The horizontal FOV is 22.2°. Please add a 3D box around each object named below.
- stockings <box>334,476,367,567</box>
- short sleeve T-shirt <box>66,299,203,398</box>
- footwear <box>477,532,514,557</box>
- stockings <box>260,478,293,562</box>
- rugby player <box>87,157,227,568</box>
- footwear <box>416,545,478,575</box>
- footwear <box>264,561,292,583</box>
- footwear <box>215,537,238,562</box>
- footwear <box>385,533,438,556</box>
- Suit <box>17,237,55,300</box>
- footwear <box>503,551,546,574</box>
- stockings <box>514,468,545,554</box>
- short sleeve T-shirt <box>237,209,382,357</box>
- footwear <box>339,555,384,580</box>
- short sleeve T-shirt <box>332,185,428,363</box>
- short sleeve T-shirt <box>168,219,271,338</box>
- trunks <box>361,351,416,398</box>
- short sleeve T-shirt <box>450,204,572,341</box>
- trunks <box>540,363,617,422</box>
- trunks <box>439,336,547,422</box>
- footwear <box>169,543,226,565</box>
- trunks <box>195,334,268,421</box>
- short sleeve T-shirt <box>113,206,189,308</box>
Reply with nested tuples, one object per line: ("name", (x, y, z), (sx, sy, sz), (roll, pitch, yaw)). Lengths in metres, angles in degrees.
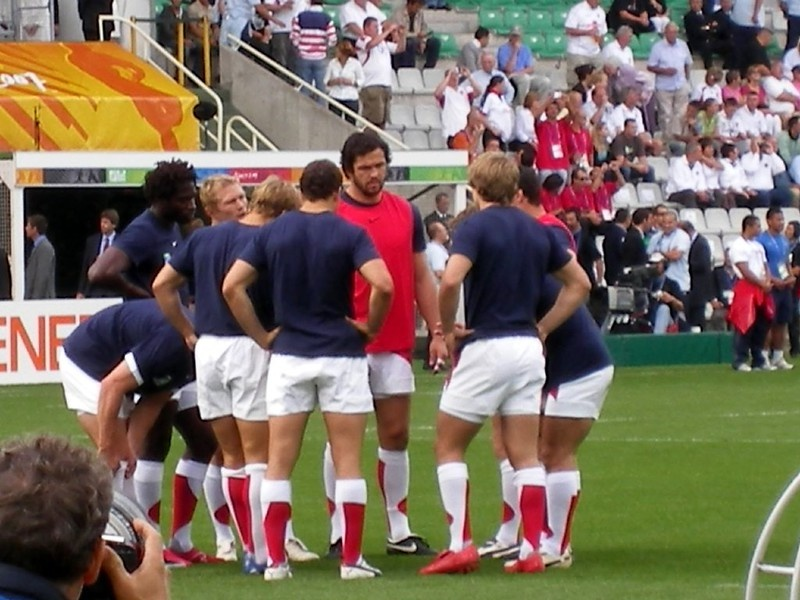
("stockings", (-0.413, 1.794, 16.600), (0.238, 0.688, 0.178), (2, 5, -2))
("short sleeve T-shirt", (-2.266, 0.438, 17.067), (0.966, 0.675, 0.652), (-2, 17, 20))
("footwear", (0.827, 2.092, 17.339), (0.378, 0.175, 0.142), (-3, -9, 6))
("stockings", (-1.024, 1.804, 16.605), (0.233, 0.696, 0.202), (3, 5, 8))
("rugby player", (-2.044, 0.470, 17.235), (1.203, 3.397, 0.996), (2, -10, -12))
("footwear", (0.420, 2.124, 16.647), (0.409, 0.176, 0.217), (-1, -7, 1))
("footwear", (-0.986, 2.195, 16.563), (0.174, 0.138, 0.069), (-3, 16, -19))
("footwear", (-1.469, 2.119, 17.281), (0.175, 0.136, 0.183), (-2, 46, 13))
("footwear", (0.094, 2.084, 17.421), (0.439, 0.189, 0.162), (2, -5, 0))
("Suit", (-4.332, -0.386, 24.611), (0.354, 0.731, 0.647), (2, 5, -12))
("footwear", (1.014, 2.162, 16.792), (0.287, 0.192, 0.156), (1, -15, 11))
("stockings", (1.054, 1.732, 16.723), (0.253, 0.743, 0.152), (2, 5, -2))
("short sleeve T-shirt", (-0.747, -0.120, 16.758), (1.373, 1.238, 0.500), (0, -1, 14))
("footwear", (-0.337, 2.194, 16.634), (0.392, 0.187, 0.135), (0, -2, -20))
("short sleeve T-shirt", (-0.171, -0.235, 17.353), (0.896, 1.423, 0.488), (-8, 5, -22))
("short sleeve T-shirt", (-1.414, -0.136, 16.974), (1.060, 0.969, 0.438), (3, 4, 6))
("trunks", (-0.125, 0.622, 17.057), (0.319, 0.308, 0.181), (-6, -18, -18))
("short sleeve T-shirt", (0.876, -0.184, 16.872), (1.215, 1.147, 0.510), (5, -9, -25))
("trunks", (1.454, 0.763, 16.921), (0.483, 0.363, 0.392), (1, -3, 11))
("trunks", (0.808, 0.558, 16.900), (0.855, 0.787, 0.585), (-2, 18, -20))
("footwear", (-1.706, 2.128, 17.140), (0.475, 0.204, 0.168), (-1, -2, -8))
("trunks", (-1.394, 0.619, 16.939), (0.695, 0.721, 0.453), (0, 6, 21))
("short sleeve T-shirt", (-2.075, -0.334, 17.155), (0.350, 0.853, 0.923), (1, 1, 19))
